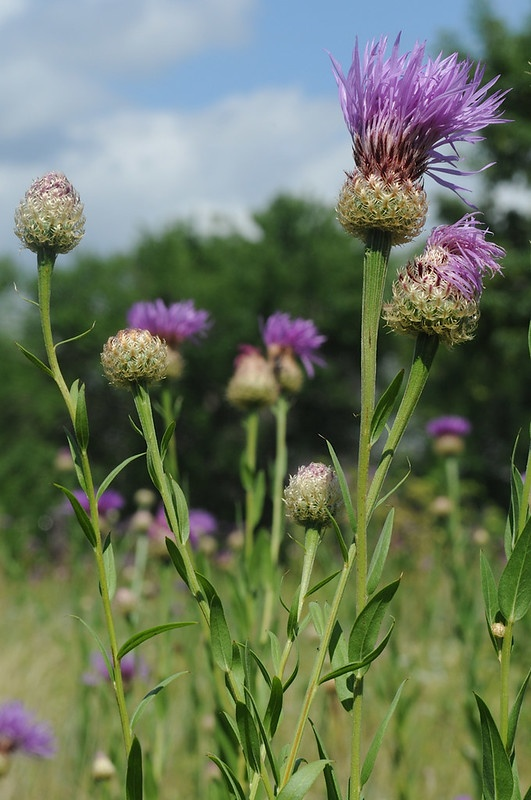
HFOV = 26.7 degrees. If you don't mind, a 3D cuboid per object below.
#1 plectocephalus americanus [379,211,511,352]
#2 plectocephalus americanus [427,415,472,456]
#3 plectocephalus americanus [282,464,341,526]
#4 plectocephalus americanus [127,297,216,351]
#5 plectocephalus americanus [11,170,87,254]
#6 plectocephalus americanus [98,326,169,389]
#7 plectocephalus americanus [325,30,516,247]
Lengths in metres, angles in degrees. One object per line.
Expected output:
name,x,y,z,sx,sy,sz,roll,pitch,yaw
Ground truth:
plectocephalus americanus,0.337,-0.240,2.160,0.179,0.227,0.163,11,-12,-26
plectocephalus americanus,0.978,0.182,5.916,0.227,0.234,0.232,2,-18,0
plectocephalus americanus,0.083,0.183,2.199,0.102,0.115,0.115,4,20,11
plectocephalus americanus,-0.324,-0.252,3.527,0.234,0.146,0.233,3,-7,-29
plectocephalus americanus,-0.436,-0.389,2.262,0.128,0.167,0.125,7,9,22
plectocephalus americanus,-0.257,-0.084,2.226,0.125,0.127,0.120,-6,-5,-25
plectocephalus americanus,0.224,-0.517,2.172,0.335,0.417,0.370,-2,24,-10
